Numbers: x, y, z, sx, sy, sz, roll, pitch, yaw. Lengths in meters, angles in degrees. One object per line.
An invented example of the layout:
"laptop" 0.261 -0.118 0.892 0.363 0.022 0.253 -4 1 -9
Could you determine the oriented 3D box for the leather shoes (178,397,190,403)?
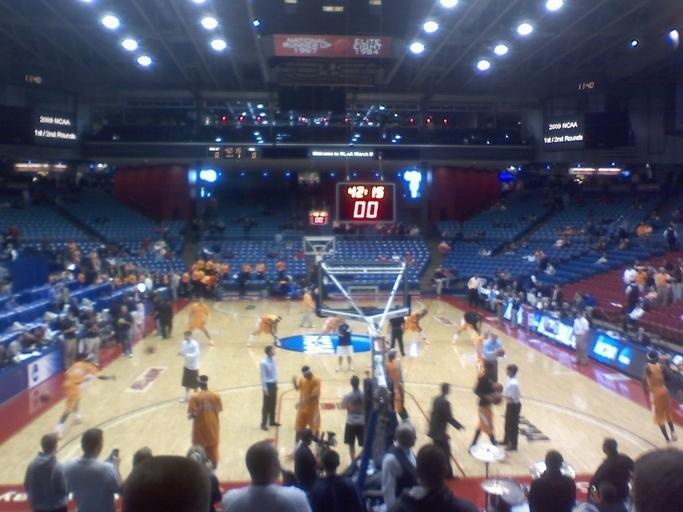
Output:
"leather shoes" -4.150 3.775 14.079 0.366 0.118 0.218 4 4 45
